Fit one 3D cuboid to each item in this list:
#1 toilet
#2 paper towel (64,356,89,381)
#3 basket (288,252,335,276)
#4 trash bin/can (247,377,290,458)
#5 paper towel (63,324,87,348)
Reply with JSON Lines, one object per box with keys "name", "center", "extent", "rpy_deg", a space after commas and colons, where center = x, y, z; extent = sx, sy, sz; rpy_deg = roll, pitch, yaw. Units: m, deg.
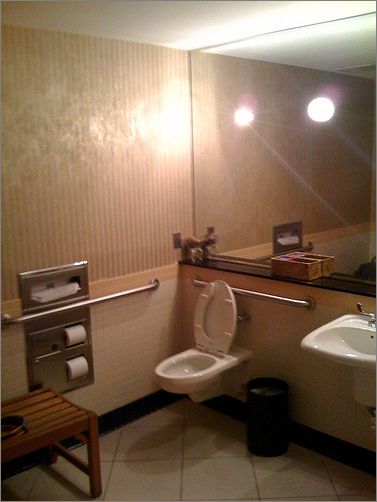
{"name": "toilet", "center": [0.057, 0.556, 2.257], "extent": [0.552, 0.662, 0.340], "rpy_deg": [-9, 11, -42]}
{"name": "paper towel", "center": [-0.602, 0.631, 2.094], "extent": [0.101, 0.120, 0.134], "rpy_deg": [-27, -15, 31]}
{"name": "basket", "center": [0.634, 0.070, 2.045], "extent": [0.259, 0.125, 0.060], "rpy_deg": [0, 3, 43]}
{"name": "trash bin/can", "center": [0.427, 0.900, 2.100], "extent": [0.223, 0.359, 0.208], "rpy_deg": [-1, 2, 13]}
{"name": "paper towel", "center": [-0.603, 0.445, 2.063], "extent": [0.094, 0.113, 0.125], "rpy_deg": [-13, -3, 38]}
